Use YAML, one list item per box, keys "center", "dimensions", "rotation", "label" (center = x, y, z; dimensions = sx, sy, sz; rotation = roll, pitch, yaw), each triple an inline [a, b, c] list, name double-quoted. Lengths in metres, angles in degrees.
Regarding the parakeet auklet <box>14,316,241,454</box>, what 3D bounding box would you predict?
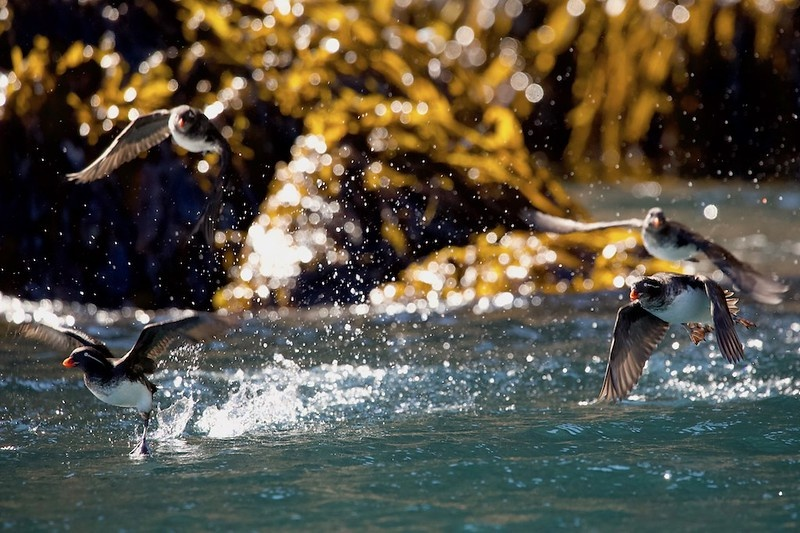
- center: [-2.222, 0.983, 9.405]
  dimensions: [1.657, 1.122, 0.421]
  rotation: [-3, -6, 4]
  label: "parakeet auklet"
